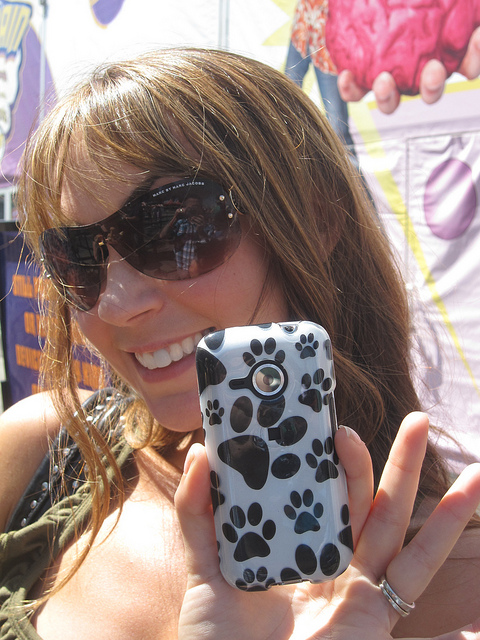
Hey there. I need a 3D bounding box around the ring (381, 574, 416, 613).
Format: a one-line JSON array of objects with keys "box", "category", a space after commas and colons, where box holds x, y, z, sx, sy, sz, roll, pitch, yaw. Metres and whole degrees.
[{"box": [0.250, 0.435, 1.035, 0.023, 0.050, 0.059, -44, 75, 21], "category": "ring"}]

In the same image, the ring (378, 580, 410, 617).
[{"box": [0.240, 0.443, 1.008, 0.013, 0.051, 0.048, -42, 84, 8], "category": "ring"}]
